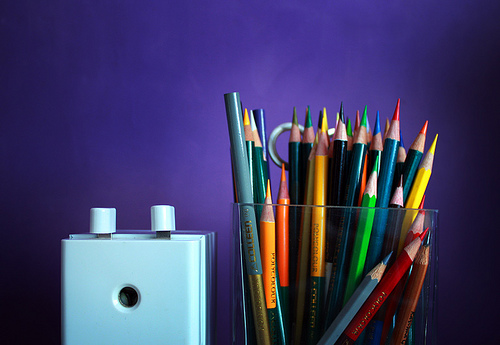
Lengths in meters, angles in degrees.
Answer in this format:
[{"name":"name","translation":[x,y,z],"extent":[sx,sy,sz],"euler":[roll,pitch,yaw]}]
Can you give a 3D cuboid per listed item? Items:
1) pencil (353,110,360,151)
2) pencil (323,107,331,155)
[{"name":"pencil","translation":[0.220,-0.088,1.053],"extent":[0.016,0.112,0.018],"euler":[6,-49,7]},{"name":"pencil","translation":[0.156,-0.082,1.026],"extent":[0.013,0.089,0.011],"euler":[-5,-6,-36]}]
